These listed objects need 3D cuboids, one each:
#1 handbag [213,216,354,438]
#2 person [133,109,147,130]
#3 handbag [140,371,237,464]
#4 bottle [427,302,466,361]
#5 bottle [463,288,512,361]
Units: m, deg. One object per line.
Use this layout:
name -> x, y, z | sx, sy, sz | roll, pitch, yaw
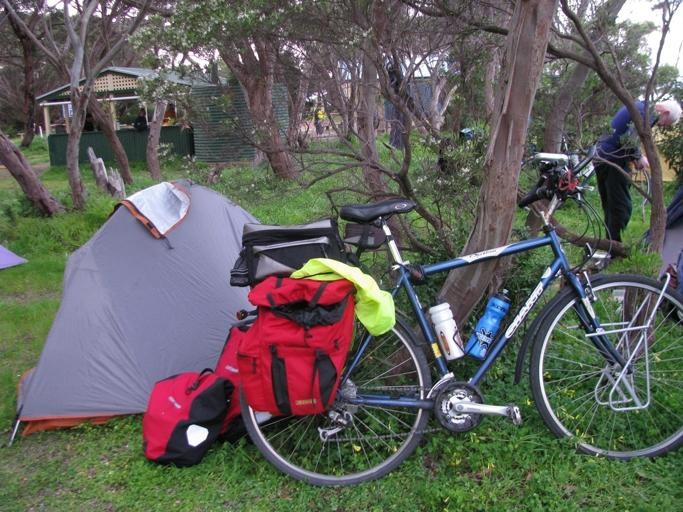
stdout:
handbag -> -0.344, 0.461, 4.104 | 1.304, 2.077, 1.102 | 0, -1, 0
person -> -7.190, -4.843, 18.751 | 0.447, 0.758, 0.940 | -6, 15, -21
handbag -> -1.273, 1.273, 4.259 | 0.613, 0.330, 0.888 | 6, 32, 9
bottle -> 0.779, 0.555, 3.882 | 0.256, 0.420, 0.136 | 2, 13, 12
bottle -> 1.107, 0.515, 3.925 | 0.386, 0.508, 0.152 | -10, 16, -31
